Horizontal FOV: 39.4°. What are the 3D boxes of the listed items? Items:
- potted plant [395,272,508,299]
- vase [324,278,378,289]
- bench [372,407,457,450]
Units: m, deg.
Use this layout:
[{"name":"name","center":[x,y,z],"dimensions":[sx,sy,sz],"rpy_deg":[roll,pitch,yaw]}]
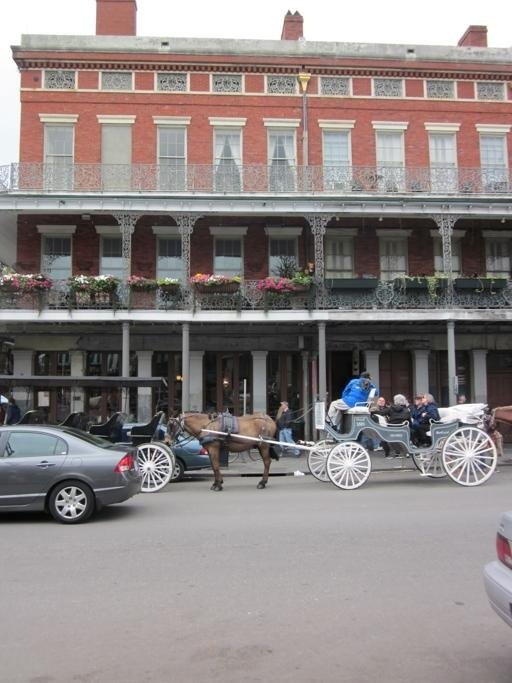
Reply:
[{"name":"potted plant","center":[5.387,-1.514,19.639],"dimensions":[3.137,0.512,0.454],"rpy_deg":[-1,-2,-4]},{"name":"vase","center":[2.641,-1.554,19.456],"dimensions":[1.399,0.359,0.353],"rpy_deg":[-1,-2,3]},{"name":"bench","center":[2.639,1.467,12.690],"dimensions":[0.881,0.732,1.147],"rpy_deg":[-1,0,-23]}]
